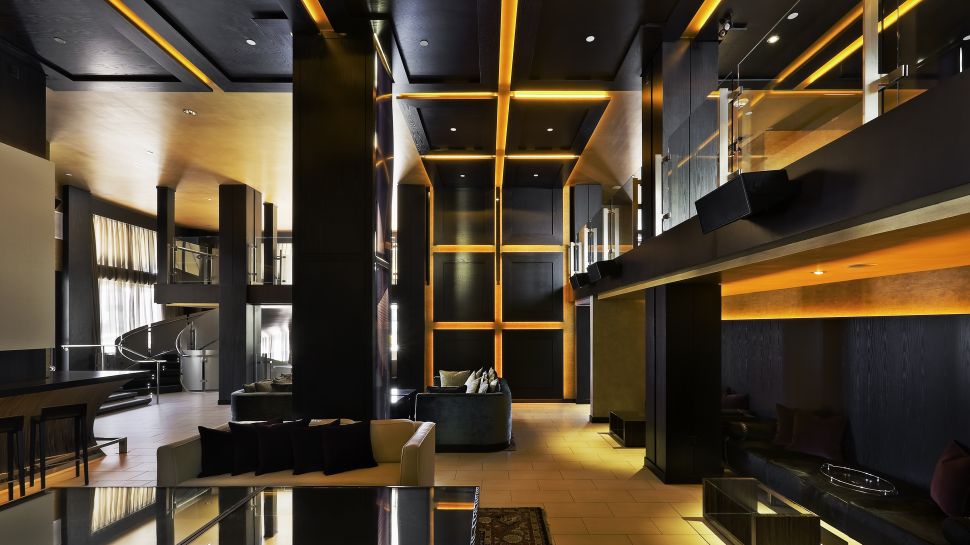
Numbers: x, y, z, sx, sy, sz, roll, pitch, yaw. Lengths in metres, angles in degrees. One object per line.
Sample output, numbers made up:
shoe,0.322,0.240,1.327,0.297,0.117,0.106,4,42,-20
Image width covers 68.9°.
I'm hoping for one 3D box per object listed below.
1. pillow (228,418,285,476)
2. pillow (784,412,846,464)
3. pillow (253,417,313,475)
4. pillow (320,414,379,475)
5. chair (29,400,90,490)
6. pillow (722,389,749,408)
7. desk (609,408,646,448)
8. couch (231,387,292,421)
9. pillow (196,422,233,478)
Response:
pillow,-3.438,2.637,10.534,0.810,0.227,0.664,2,81,-7
pillow,5.597,2.736,11.830,0.331,0.777,0.706,22,70,-48
pillow,-2.996,2.637,10.583,0.812,0.271,0.679,-2,79,-5
pillow,-2.072,2.610,10.668,0.879,0.301,0.732,-2,76,-21
chair,-6.979,2.847,11.919,0.918,1.526,1.156,-4,76,-7
pillow,4.710,2.398,13.325,0.175,0.471,0.318,40,60,-37
desk,2.747,2.901,13.576,0.516,0.907,0.411,1,86,4
couch,-4.331,2.573,13.839,1.419,0.970,0.619,0,90,-1
pillow,-3.997,2.680,10.514,0.823,0.332,0.810,0,82,-14
